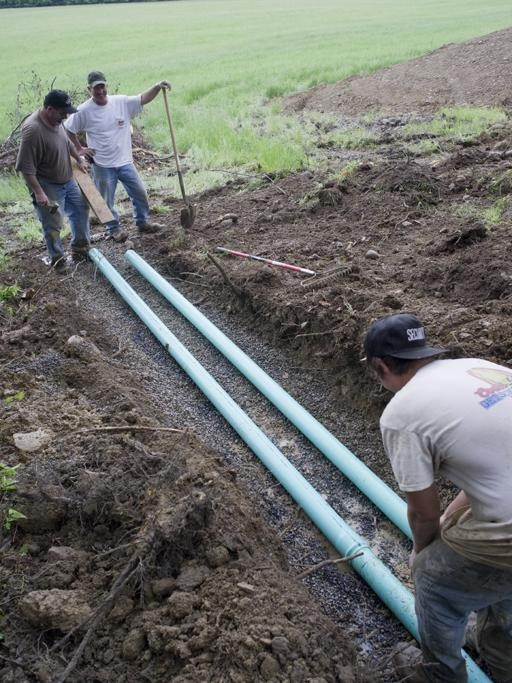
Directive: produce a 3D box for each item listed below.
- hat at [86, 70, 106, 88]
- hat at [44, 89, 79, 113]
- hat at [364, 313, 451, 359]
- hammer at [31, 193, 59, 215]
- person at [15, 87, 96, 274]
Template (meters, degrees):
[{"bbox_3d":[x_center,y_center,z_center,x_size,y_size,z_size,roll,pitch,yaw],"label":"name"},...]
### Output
[{"bbox_3d":[-1.802,-2.951,7.272,0.169,0.104,0.213,-14,24,-11],"label":"hat"},{"bbox_3d":[-1.955,-2.403,6.512,0.321,0.162,0.193,-4,45,-21],"label":"hat"},{"bbox_3d":[0.763,-0.032,3.249,0.369,0.160,0.225,1,8,25],"label":"hat"},{"bbox_3d":[-2.266,-1.482,7.002,0.205,0.100,0.487,9,2,-31],"label":"hammer"},{"bbox_3d":[-2.173,-1.710,7.197,0.711,1.925,1.064,-16,23,-12],"label":"person"}]
